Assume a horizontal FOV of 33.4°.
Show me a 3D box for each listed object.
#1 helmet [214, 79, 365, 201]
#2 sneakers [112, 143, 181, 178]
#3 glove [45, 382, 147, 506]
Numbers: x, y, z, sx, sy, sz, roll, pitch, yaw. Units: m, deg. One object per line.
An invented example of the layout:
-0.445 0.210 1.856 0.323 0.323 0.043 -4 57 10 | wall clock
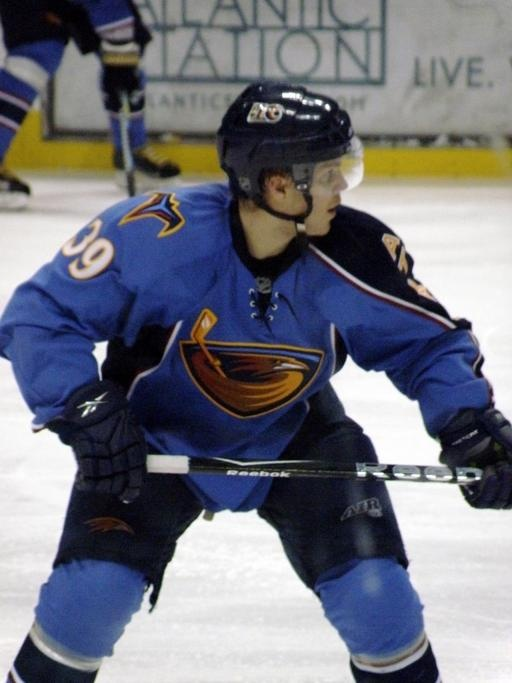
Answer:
0.041 -0.344 1.461 0.285 0.201 0.187 -2 13 8 | helmet
-0.649 -1.108 5.268 0.496 0.148 0.138 5 28 4 | sneakers
-0.244 0.155 1.282 0.159 0.166 0.056 -18 -16 -21 | glove
